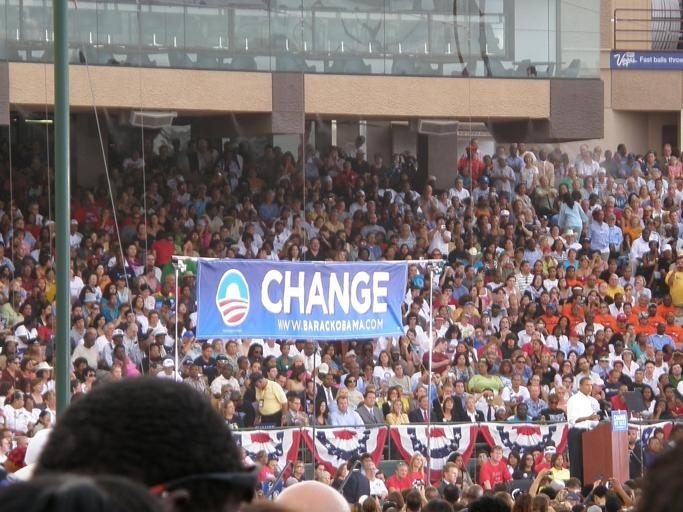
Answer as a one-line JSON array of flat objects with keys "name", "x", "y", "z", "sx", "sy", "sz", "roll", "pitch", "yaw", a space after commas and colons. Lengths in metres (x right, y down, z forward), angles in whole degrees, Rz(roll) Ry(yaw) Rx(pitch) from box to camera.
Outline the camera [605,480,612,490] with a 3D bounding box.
[{"name": "camera", "x": 4.169, "y": 3.540, "z": 31.639, "sx": 0.075, "sy": 0.116, "sz": 0.333, "roll": 14, "pitch": -5, "yaw": 9}]
